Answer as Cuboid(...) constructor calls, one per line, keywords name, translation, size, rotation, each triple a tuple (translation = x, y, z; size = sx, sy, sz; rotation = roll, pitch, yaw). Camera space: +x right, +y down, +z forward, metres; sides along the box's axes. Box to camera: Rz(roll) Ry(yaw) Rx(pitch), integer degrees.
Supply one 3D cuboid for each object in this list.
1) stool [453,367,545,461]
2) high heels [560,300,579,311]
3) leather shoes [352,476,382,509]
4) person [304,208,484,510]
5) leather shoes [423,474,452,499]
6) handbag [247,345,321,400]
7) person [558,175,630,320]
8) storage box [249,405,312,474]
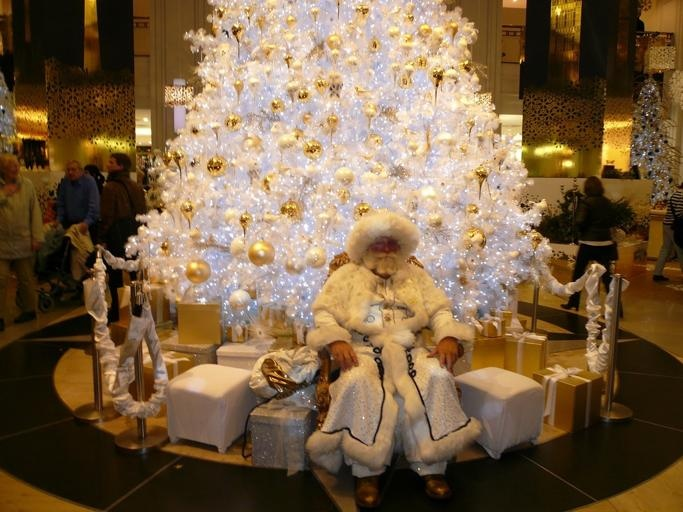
Cuboid(name="stool", translation=(1.121, 1.054, 4.140), size=(0.539, 0.510, 0.544), rotation=(-13, 20, -33))
Cuboid(name="high heels", translation=(2.905, 0.634, 7.233), size=(0.089, 0.167, 0.227), rotation=(-6, 13, -39))
Cuboid(name="leather shoes", translation=(0.160, 1.500, 3.553), size=(0.143, 0.156, 0.129), rotation=(1, 6, -3))
Cuboid(name="person", translation=(0.325, 0.622, 3.867), size=(1.141, 1.830, 0.984), rotation=(3, 6, 14))
Cuboid(name="leather shoes", translation=(0.613, 1.487, 3.629), size=(0.185, 0.130, 0.134), rotation=(3, 6, 13))
Cuboid(name="handbag", translation=(-0.405, 0.858, 4.056), size=(0.398, 0.220, 0.525), rotation=(-2, 1, -3))
Cuboid(name="person", translation=(3.101, -0.154, 7.016), size=(0.603, 1.710, 1.227), rotation=(5, 7, 26))
Cuboid(name="storage box", translation=(-0.414, 1.215, 3.969), size=(0.384, 0.385, 0.407), rotation=(4, 7, 15))
